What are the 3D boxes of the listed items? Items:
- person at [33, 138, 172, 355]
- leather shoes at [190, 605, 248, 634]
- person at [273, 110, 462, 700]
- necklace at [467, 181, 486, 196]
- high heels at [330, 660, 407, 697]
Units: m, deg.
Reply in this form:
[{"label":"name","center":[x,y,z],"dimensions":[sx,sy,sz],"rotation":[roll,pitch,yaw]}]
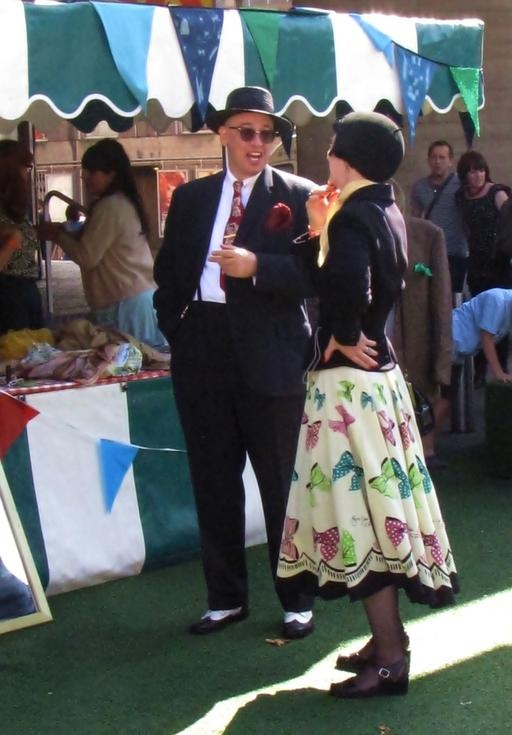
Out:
[{"label":"person","center":[-0.879,-0.488,3.857],"dimensions":[0.599,1.611,0.510],"rotation":[-5,33,-5]},{"label":"leather shoes","center":[-0.133,0.883,2.374],"dimensions":[0.200,0.076,0.071],"rotation":[-9,3,-31]},{"label":"person","center":[0.268,0.137,1.753],"dimensions":[0.437,1.552,0.391],"rotation":[-1,3,39]},{"label":"necklace","center":[1.953,-1.607,5.825],"dimensions":[0.135,0.175,0.107],"rotation":[-2,5,-6]},{"label":"high heels","center":[0.276,0.841,1.787],"dimensions":[0.246,0.102,0.084],"rotation":[0,4,1]}]
